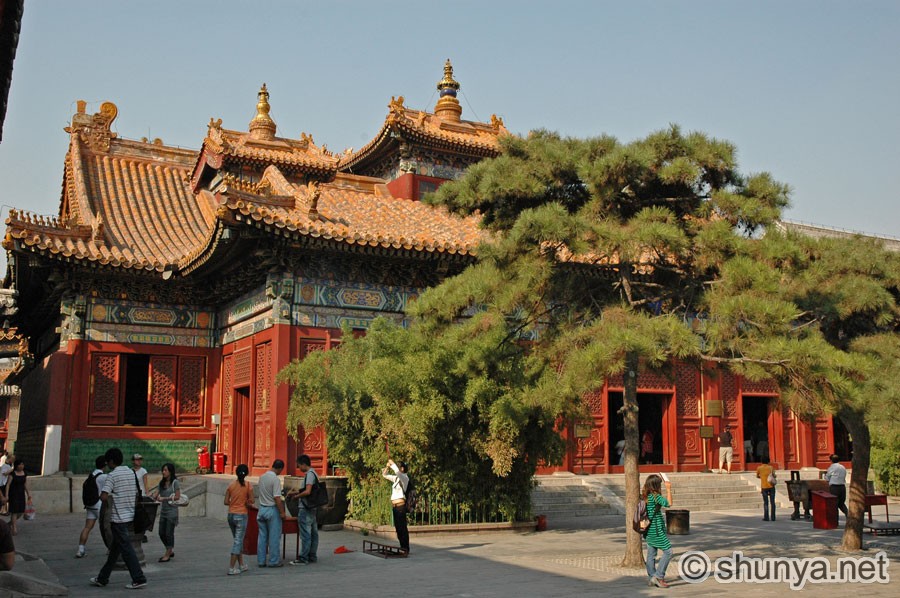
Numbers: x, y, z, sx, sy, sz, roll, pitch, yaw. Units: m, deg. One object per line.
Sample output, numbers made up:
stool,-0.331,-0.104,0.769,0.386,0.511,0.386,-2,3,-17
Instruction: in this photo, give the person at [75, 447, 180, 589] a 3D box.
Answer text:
person,-5.724,3.824,17.503,0.917,2.381,1.196,4,-15,-16

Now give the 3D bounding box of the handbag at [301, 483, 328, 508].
handbag,-2.591,3.699,18.947,0.481,0.515,0.350,-1,-9,-4

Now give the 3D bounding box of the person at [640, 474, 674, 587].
person,3.611,4.031,17.406,0.494,1.915,0.537,-4,-15,14

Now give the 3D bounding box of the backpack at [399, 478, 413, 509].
backpack,-0.848,3.814,19.442,0.144,0.457,0.320,3,-6,-4

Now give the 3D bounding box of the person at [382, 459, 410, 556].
person,-1.037,4.055,19.472,0.510,1.844,0.503,1,-15,-4

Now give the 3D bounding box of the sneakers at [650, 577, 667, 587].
sneakers,3.612,4.873,17.159,0.314,0.134,0.110,-8,-13,44

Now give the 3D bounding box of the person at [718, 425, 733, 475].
person,8.106,4.412,29.343,0.458,1.336,0.880,-4,-15,14
